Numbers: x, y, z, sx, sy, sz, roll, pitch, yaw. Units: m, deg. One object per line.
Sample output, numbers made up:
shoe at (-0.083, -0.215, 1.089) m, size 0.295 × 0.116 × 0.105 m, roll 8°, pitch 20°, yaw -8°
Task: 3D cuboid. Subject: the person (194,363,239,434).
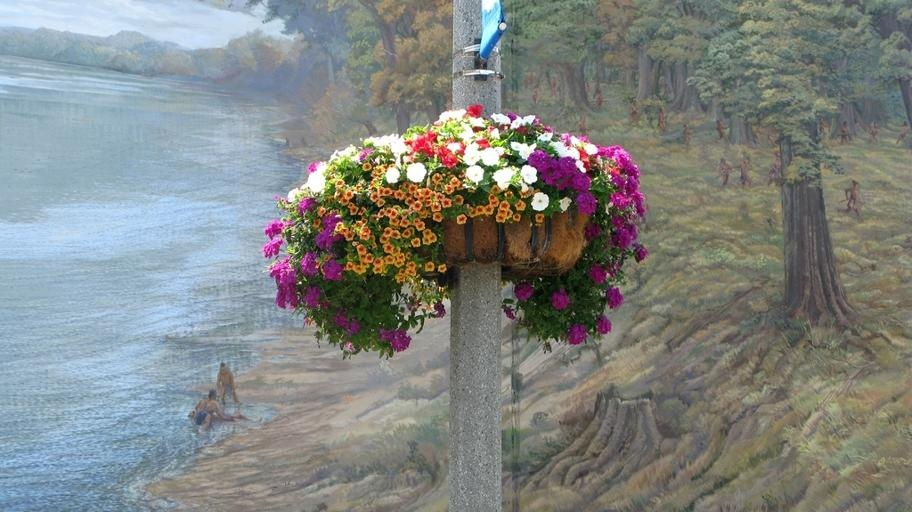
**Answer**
person at (-3.600, 2.091, 13.186) m, size 0.727 × 0.815 × 0.787 m, roll 15°, pitch 19°, yaw 25°
